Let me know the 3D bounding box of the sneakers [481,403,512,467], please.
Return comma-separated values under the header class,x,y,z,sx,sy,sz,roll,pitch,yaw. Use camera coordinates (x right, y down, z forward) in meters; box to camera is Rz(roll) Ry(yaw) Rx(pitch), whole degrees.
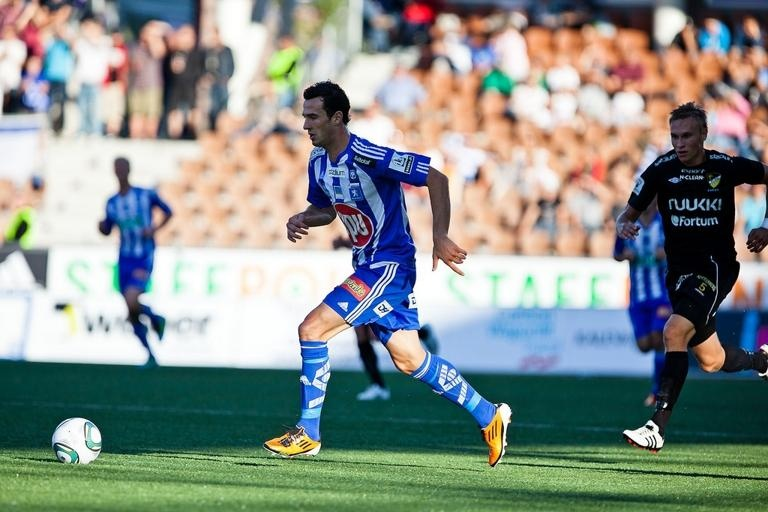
class,x,y,z,sx,sy,sz,roll,pitch,yaw
sneakers,0.995,1.535,9.184,0.270,0.604,0.211,7,-13,-9
